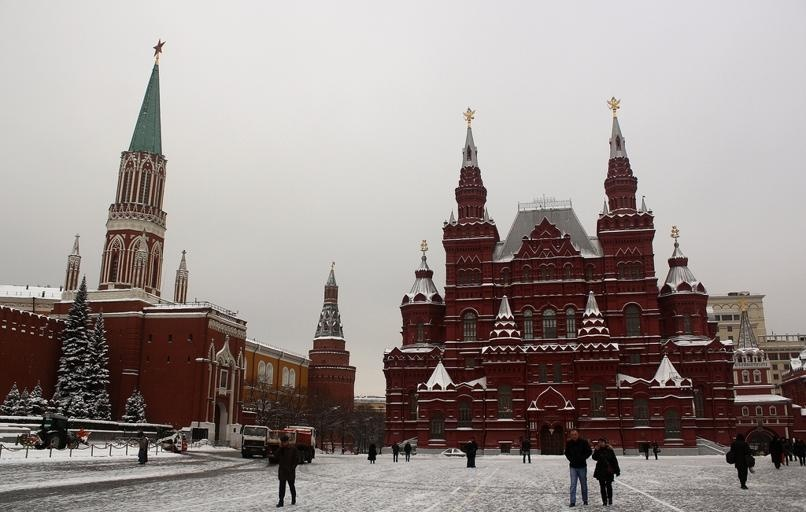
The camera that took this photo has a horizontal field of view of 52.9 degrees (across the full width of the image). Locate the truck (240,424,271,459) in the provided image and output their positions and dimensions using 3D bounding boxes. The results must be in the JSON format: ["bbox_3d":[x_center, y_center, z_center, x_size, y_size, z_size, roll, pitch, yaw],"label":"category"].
[{"bbox_3d":[-13.062,16.607,71.516,1.977,1.768,3.398,1,-22,-4],"label":"truck"}]

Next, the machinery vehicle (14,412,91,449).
[{"bbox_3d":[-28.851,14.352,66.467,3.179,2.658,5.481,3,-9,38],"label":"machinery vehicle"}]
